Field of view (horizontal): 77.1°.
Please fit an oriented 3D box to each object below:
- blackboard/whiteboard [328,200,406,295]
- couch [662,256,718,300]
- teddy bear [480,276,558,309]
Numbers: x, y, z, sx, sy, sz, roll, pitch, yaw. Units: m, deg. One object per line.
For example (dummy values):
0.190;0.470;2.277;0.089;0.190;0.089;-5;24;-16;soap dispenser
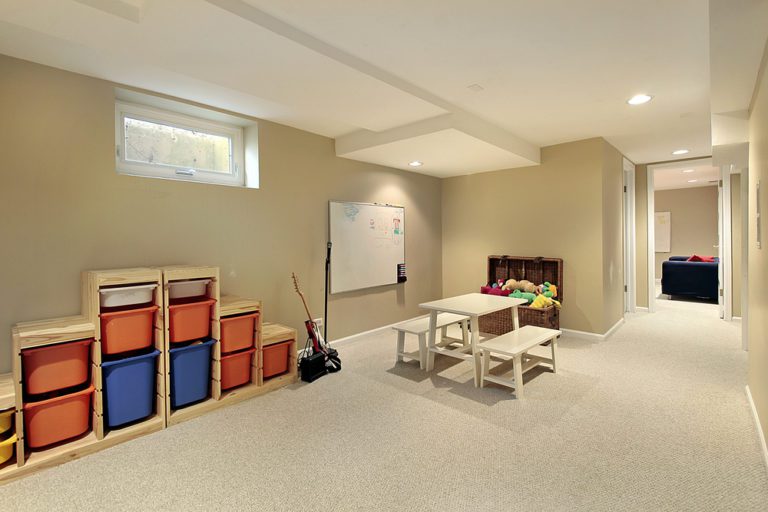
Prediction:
-0.271;-0.118;6.594;0.094;1.134;1.395;0;1;41;blackboard/whiteboard
5.897;0.421;9.387;0.811;0.728;0.894;1;0;34;couch
1.901;0.498;6.625;0.480;0.263;0.680;-2;2;-44;teddy bear
